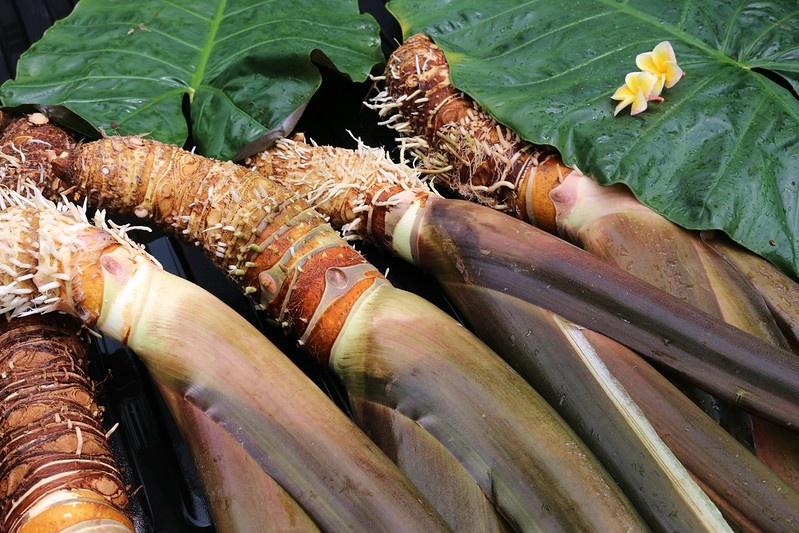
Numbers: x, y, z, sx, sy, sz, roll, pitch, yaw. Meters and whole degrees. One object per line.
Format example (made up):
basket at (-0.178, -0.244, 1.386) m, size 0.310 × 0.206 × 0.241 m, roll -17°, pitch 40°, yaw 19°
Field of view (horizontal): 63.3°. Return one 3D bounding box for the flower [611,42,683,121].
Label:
flower at (0.608, -0.466, 1.541) m, size 0.126 × 0.177 × 0.048 m, roll 22°, pitch 85°, yaw 24°
